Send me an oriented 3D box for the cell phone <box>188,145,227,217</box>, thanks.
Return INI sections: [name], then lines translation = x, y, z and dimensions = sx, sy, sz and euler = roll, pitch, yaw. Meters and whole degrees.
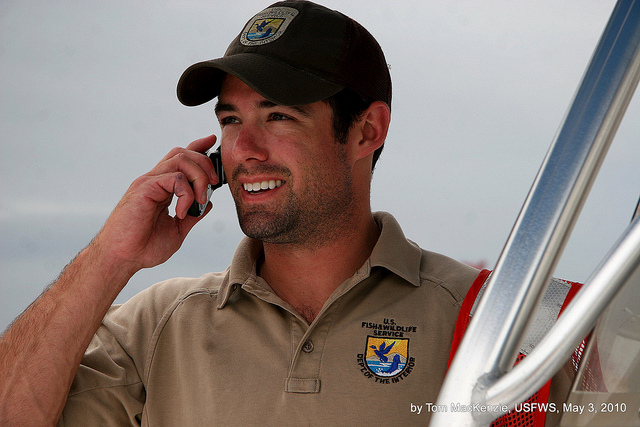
[cell phone]
translation = -0.434, -0.152, 4.106
dimensions = 0.056, 0.338, 0.133
euler = 45, -3, -8
